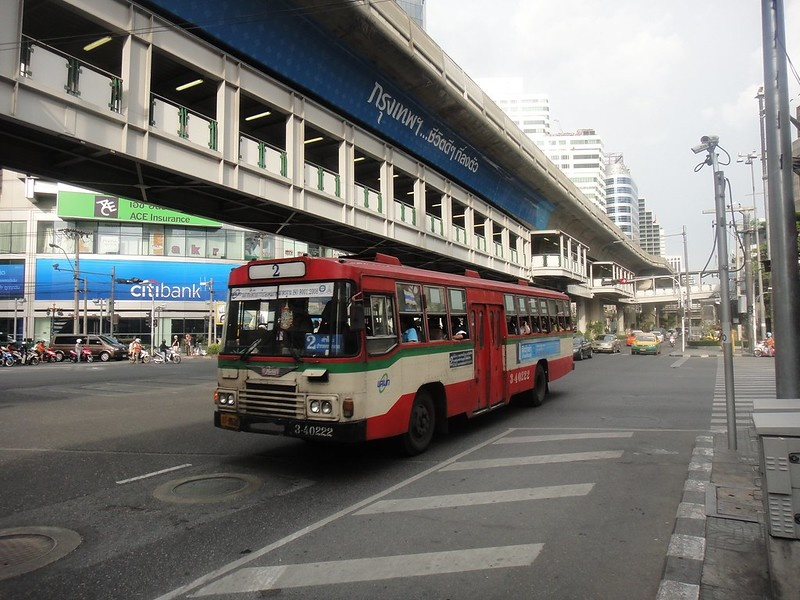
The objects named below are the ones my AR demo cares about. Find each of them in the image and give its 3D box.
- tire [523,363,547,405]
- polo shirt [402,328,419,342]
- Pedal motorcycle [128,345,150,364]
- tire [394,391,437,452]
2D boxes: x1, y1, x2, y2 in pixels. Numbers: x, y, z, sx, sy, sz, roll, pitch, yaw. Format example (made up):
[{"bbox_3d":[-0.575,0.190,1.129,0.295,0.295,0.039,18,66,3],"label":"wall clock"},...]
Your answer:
[{"bbox_3d":[3.555,2.228,16.672,0.334,1.134,1.032,-6,-10,31],"label":"tire"},{"bbox_3d":[0.196,0.635,11.537,0.169,0.266,0.130,13,-18,-7],"label":"polo shirt"},{"bbox_3d":[-17.369,3.619,42.251,1.065,1.389,1.857,1,-6,-44],"label":"Pedal motorcycle"},{"bbox_3d":[0.328,2.302,11.888,0.390,1.261,1.143,1,-2,36],"label":"tire"}]
